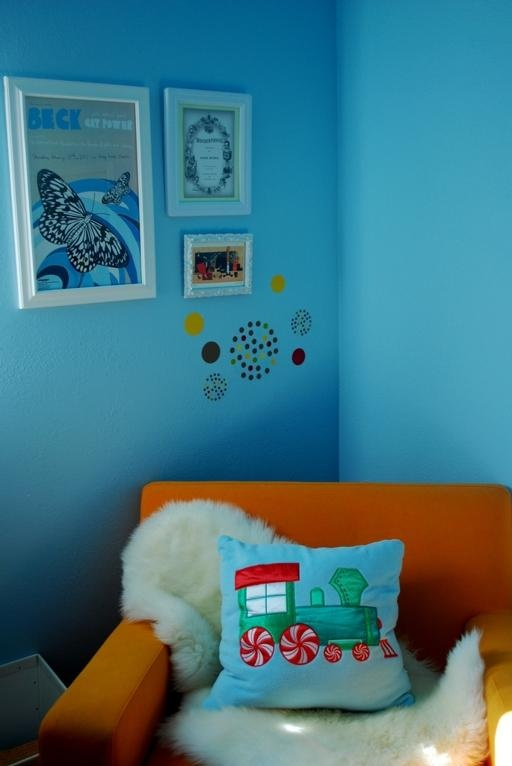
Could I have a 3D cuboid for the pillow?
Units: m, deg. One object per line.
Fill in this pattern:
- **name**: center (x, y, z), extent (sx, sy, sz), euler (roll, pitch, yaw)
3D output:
- **pillow**: center (0.100, 0.465, 1.175), extent (0.391, 0.246, 0.230), euler (-1, 10, 5)
